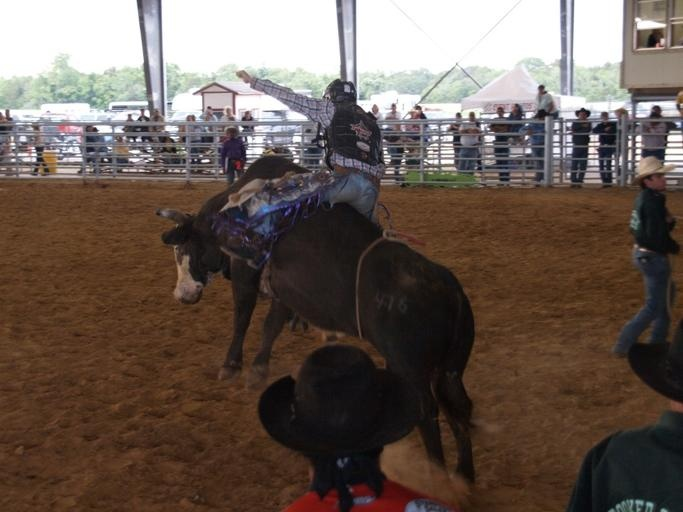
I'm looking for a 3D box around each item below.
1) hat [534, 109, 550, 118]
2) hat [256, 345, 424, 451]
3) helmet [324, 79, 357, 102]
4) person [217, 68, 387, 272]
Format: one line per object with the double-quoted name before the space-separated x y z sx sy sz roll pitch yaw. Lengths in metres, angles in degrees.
"hat" 4.306 -3.045 13.735 0.260 0.202 0.375 2 12 14
"hat" -0.024 0.546 2.625 0.632 0.179 0.660 -17 23 -33
"helmet" -0.001 -1.193 4.619 0.286 0.167 0.184 -11 21 -20
"person" -0.446 -0.694 4.783 1.391 1.268 1.812 2 8 1
